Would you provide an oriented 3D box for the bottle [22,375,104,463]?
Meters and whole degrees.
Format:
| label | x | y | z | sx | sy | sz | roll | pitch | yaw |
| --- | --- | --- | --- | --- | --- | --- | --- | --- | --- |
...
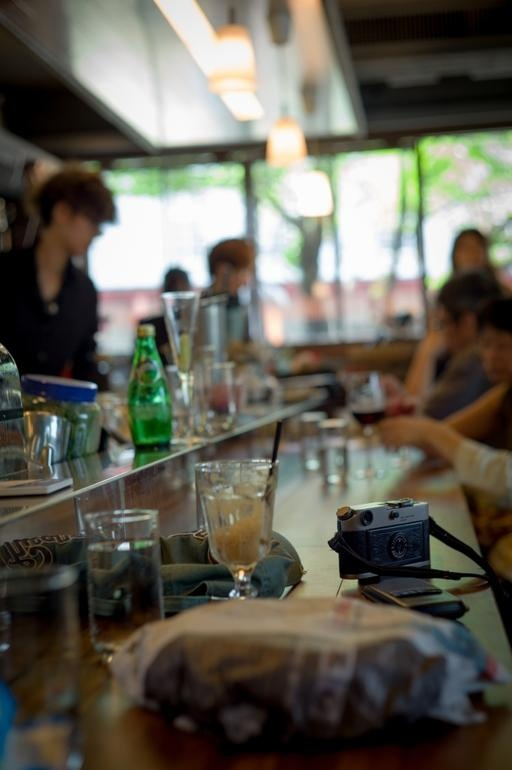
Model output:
| label | x | y | z | sx | sy | sz | roll | pitch | yaw |
| --- | --- | --- | --- | --- | --- | --- | --- | --- | --- |
| bottle | -0.337 | 0.051 | 1.091 | 0.139 | 0.124 | 0.141 | 6 | 3 | 43 |

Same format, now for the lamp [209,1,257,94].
| label | x | y | z | sx | sy | sz | roll | pitch | yaw |
| --- | --- | --- | --- | --- | --- | --- | --- | --- | --- |
| lamp | -0.097 | -1.185 | 2.421 | 0.167 | 0.180 | 0.274 | -4 | 4 | -2 |

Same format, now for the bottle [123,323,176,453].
| label | x | y | z | sx | sy | sz | roll | pitch | yaw |
| --- | --- | --- | --- | --- | --- | --- | --- | --- | --- |
| bottle | -0.209 | 0.004 | 1.251 | 0.084 | 0.236 | 0.171 | -5 | 4 | -9 |

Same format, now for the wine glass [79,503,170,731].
| label | x | y | z | sx | sy | sz | roll | pitch | yaw |
| --- | --- | --- | --- | --- | --- | --- | --- | --- | --- |
| wine glass | -0.116 | 0.184 | 0.577 | 0.070 | 0.129 | 0.181 | -5 | 4 | -11 |

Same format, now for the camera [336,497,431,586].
| label | x | y | z | sx | sy | sz | roll | pitch | yaw |
| --- | --- | --- | --- | --- | --- | --- | --- | --- | --- |
| camera | 0.163 | 0.195 | 0.833 | 0.129 | 0.090 | 0.045 | -3 | -3 | -25 |
